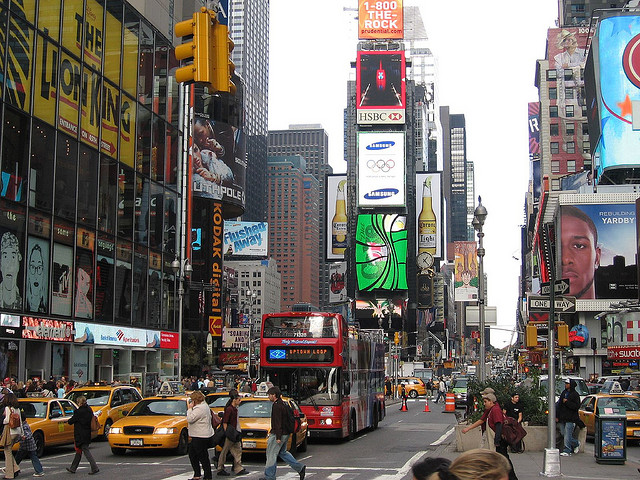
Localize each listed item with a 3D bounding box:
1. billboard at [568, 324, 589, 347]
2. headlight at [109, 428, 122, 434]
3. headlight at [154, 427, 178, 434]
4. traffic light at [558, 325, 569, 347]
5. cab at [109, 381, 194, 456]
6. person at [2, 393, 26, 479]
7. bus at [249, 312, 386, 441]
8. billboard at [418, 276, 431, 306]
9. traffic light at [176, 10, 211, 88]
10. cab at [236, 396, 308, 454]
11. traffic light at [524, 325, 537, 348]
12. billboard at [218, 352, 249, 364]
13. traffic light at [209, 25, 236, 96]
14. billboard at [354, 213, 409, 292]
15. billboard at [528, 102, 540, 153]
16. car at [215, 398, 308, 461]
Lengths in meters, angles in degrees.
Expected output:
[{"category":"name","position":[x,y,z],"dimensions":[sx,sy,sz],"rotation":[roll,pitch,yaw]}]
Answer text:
[{"category":"billboard","position":[28.067,10.253,112.139],"dimensions":[1.807,2.387,2.616],"rotation":[-7,-11,19]},{"category":"headlight","position":[-7.781,7.288,39.376],"dimensions":[0.570,0.244,0.132],"rotation":[-8,-11,19]},{"category":"headlight","position":[-5.854,7.298,39.462],"dimensions":[0.907,0.250,0.181],"rotation":[1,-11,-25]},{"category":"traffic light","position":[8.474,3.350,36.217],"dimensions":[0.222,0.758,0.377],"rotation":[3,-12,-33]},{"category":"cab","position":[-6.096,7.525,42.486],"dimensions":[2.943,2.640,6.994],"rotation":[-2,-10,11]},{"category":"person","position":[-10.694,6.690,35.734],"dimensions":[0.844,3.001,0.618],"rotation":[3,-7,-36]},{"category":"bus","position":[0.471,6.395,48.872],"dimensions":[3.733,5.424,12.839],"rotation":[-2,-8,14]},{"category":"billboard","position":[21.821,10.073,215.898],"dimensions":[3.589,9.341,1.388],"rotation":[-1,26,5]},{"category":"traffic light","position":[-3.642,-5.379,29.504],"dimensions":[0.975,2.090,0.863],"rotation":[-4,-10,8]},{"category":"cab","position":[-1.849,6.900,38.832],"dimensions":[2.635,2.272,8.257],"rotation":[-3,-11,-1]},{"category":"traffic light","position":[7.405,3.381,36.268],"dimensions":[0.414,0.812,0.828],"rotation":[-5,-10,10]},{"category":"billboard","position":[-11.422,15.250,133.922],"dimensions":[2.082,1.905,6.756],"rotation":[3,-13,-33]},{"category":"traffic light","position":[-2.847,-5.260,29.824],"dimensions":[0.692,2.241,1.310],"rotation":[-2,-10,-4]},{"category":"billboard","position":[11.440,2.016,192.014],"dimensions":[12.791,18.911,1.890],"rotation":[0,6,8]},{"category":"billboard","position":[39.236,-20.451,189.389],"dimensions":[2.402,0.897,13.055],"rotation":[-7,-46,7]},{"category":"car","position":[-2.006,7.109,39.715],"dimensions":[2.698,2.757,2.767],"rotation":[-1,-11,5]}]
